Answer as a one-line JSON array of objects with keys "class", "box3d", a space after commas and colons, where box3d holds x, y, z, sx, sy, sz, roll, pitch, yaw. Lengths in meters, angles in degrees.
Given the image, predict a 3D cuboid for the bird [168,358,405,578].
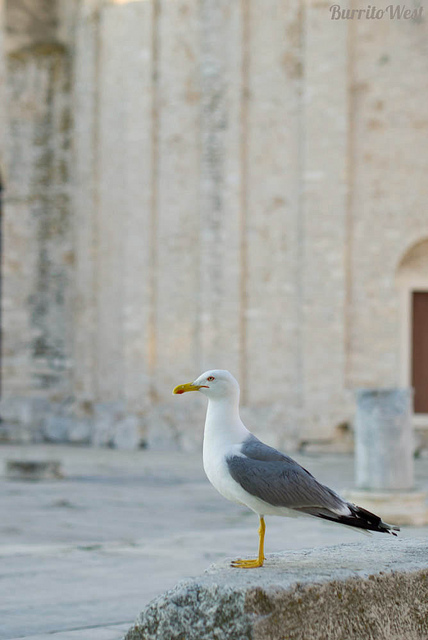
[{"class": "bird", "box3d": [0.330, 0.739, 7.568, 1.139, 0.956, 0.507, 2, 2, -3]}]
